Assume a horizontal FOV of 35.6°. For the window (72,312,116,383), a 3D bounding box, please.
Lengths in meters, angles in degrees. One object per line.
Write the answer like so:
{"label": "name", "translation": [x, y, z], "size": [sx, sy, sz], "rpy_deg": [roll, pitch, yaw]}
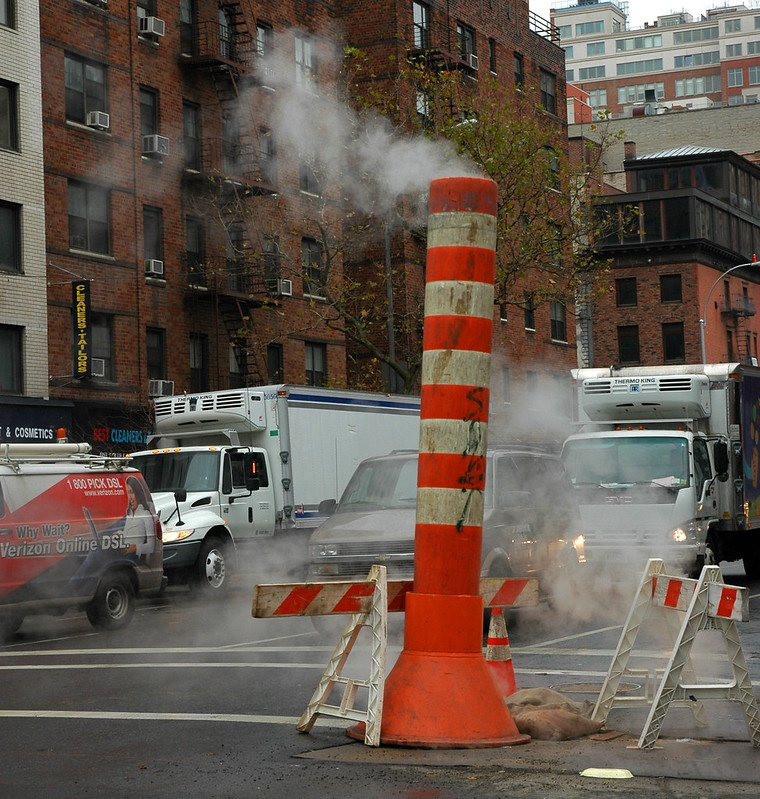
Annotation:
{"label": "window", "translation": [-6.480, -1.217, 26.642], "size": [1.070, 1.976, 0.140], "rpy_deg": [15, -44, -30]}

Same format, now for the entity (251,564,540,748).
{"label": "entity", "translation": [-0.013, 1.387, 6.514], "size": [1.470, 0.923, 0.800], "rpy_deg": [-1, -14, 25]}

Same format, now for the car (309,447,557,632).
{"label": "car", "translation": [0.890, 1.253, 13.254], "size": [1.979, 1.771, 3.413], "rpy_deg": [-4, 3, 41]}

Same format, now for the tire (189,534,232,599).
{"label": "tire", "translation": [-2.509, 2.434, 17.365], "size": [0.371, 1.003, 0.992], "rpy_deg": [-3, -2, 25]}

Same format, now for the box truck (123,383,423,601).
{"label": "box truck", "translation": [-1.854, 1.245, 19.544], "size": [2.497, 2.634, 5.327], "rpy_deg": [-2, -3, 38]}

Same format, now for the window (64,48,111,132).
{"label": "window", "translation": [-6.706, -6.903, 26.760], "size": [0.137, 1.551, 1.650], "rpy_deg": [0, 3, 22]}
